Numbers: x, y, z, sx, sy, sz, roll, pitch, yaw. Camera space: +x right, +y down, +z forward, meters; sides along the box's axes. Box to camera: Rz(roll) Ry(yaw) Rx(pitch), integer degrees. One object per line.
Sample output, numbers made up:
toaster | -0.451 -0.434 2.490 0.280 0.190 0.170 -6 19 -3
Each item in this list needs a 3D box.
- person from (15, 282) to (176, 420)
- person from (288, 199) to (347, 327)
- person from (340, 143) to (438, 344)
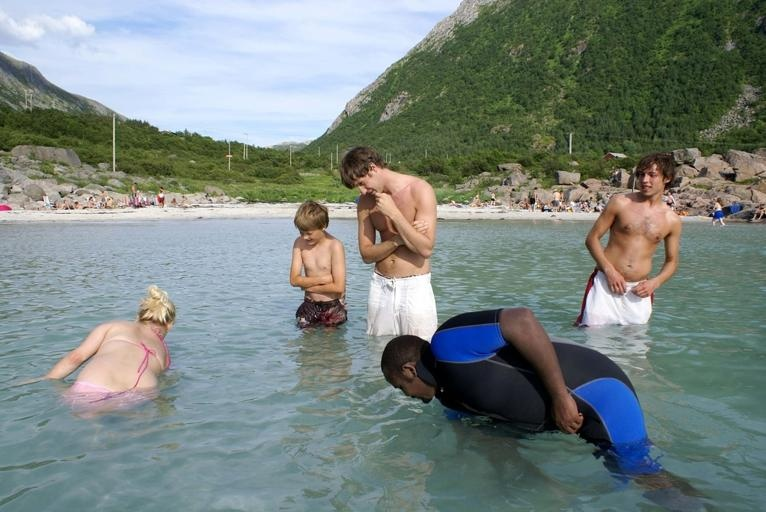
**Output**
person | -3.480 1.205 7.410 1.055 0.936 2.348 -31 15 3
person | -1.153 0.173 9.286 0.928 2.314 0.719 -2 16 -6
person | 0.151 -0.028 7.454 1.038 2.957 1.229 -15 22 -42
